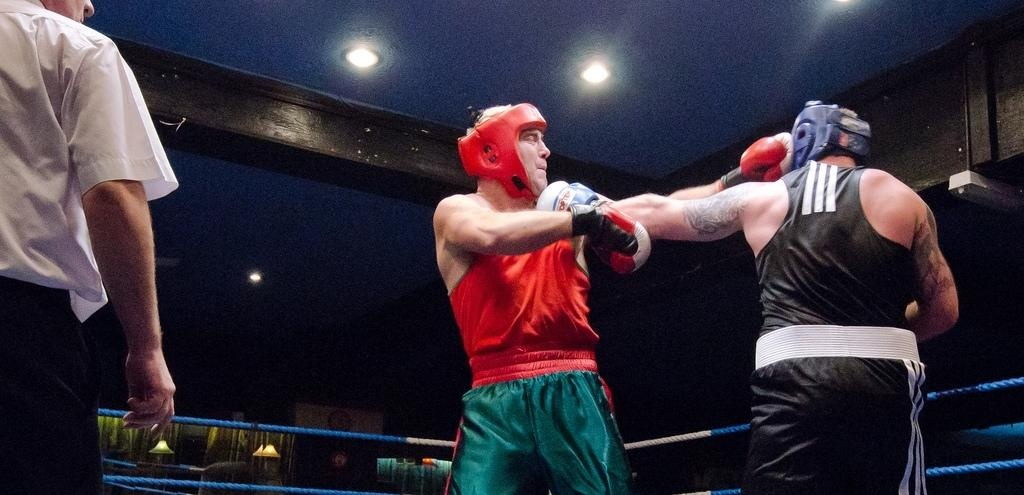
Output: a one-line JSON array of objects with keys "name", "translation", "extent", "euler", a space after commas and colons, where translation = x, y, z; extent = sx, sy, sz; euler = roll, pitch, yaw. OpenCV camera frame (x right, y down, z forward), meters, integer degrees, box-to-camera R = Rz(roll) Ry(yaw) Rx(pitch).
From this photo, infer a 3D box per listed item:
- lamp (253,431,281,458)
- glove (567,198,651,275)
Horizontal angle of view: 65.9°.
[{"name": "lamp", "translation": [-3.750, 3.037, 12.150], "extent": [0.526, 0.377, 0.319], "euler": [2, -24, -7]}, {"name": "glove", "translation": [0.606, -0.052, 5.280], "extent": [0.566, 0.425, 0.231], "euler": [38, -49, 5]}]
